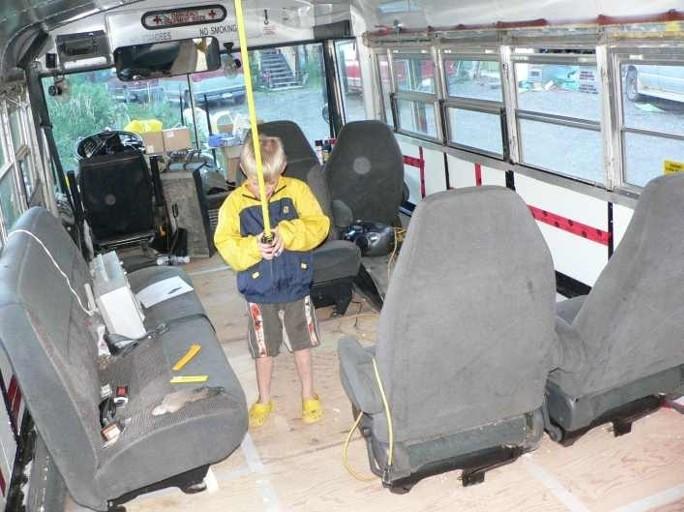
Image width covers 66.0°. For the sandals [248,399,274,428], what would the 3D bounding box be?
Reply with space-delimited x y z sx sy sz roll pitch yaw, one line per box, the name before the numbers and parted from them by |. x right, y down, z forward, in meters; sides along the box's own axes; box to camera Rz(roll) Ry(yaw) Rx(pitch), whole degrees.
sandals | -0.541 1.025 3.418 0.086 0.079 0.199 0 2 8

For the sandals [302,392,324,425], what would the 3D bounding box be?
sandals | -0.194 0.991 3.408 0.100 0.073 0.184 -4 25 -1

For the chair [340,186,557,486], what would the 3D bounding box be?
chair | 0.492 0.348 2.606 0.966 1.448 0.849 -7 18 -7
